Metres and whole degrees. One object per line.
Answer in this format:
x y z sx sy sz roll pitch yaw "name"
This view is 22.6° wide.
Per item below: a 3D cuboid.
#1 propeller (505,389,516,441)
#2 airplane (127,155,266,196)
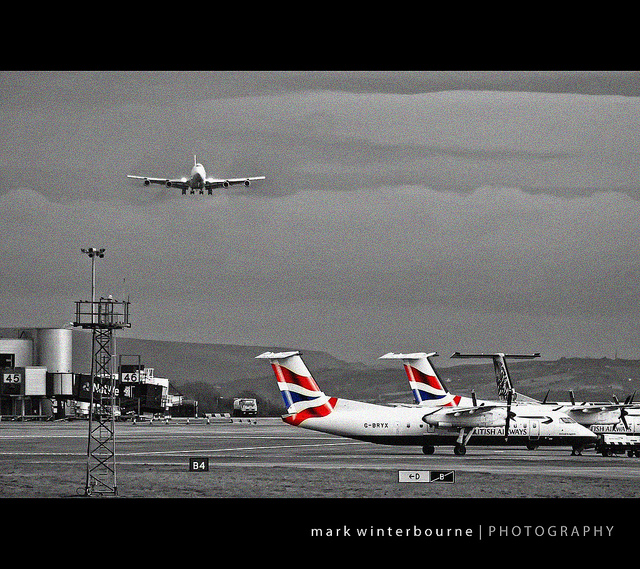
7.491 5.204 63.457 0.464 2.081 0.894 -2 -11 5 "propeller"
-6.028 -5.292 78.471 5.630 1.900 2.560 1 -12 -15 "airplane"
